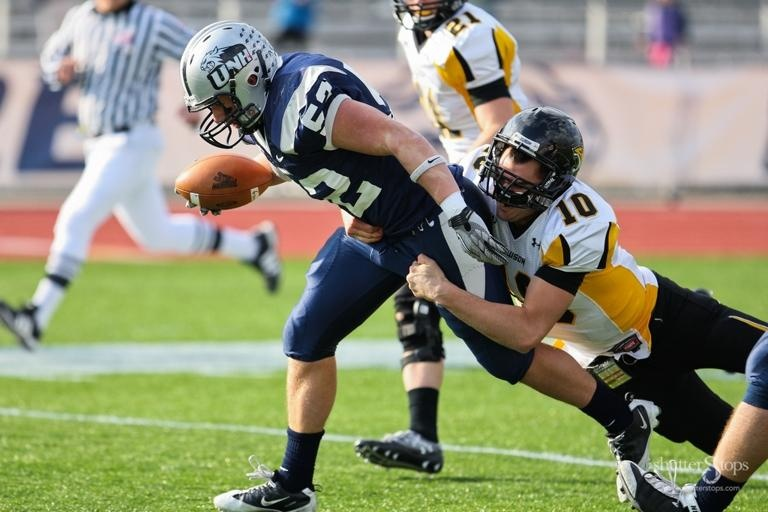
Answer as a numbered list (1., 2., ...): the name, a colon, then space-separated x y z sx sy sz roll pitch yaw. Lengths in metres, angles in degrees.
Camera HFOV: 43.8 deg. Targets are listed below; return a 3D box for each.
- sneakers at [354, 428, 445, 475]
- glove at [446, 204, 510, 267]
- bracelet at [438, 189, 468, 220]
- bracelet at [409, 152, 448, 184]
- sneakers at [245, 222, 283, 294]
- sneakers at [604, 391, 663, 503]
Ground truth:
1. sneakers: 0.114 1.040 5.104 0.516 0.186 0.250 13 40 -4
2. glove: 0.416 -0.098 4.520 0.320 0.186 0.116 44 -8 -13
3. bracelet: 0.321 -0.233 4.459 0.126 0.106 0.112 -29 -18 -7
4. bracelet: 0.204 -0.406 4.481 0.164 0.147 0.157 1 12 1
5. sneakers: -0.997 0.024 8.174 0.290 0.673 0.223 -15 19 -3
6. sneakers: 1.247 0.976 4.792 0.265 0.563 0.186 5 -12 -11
